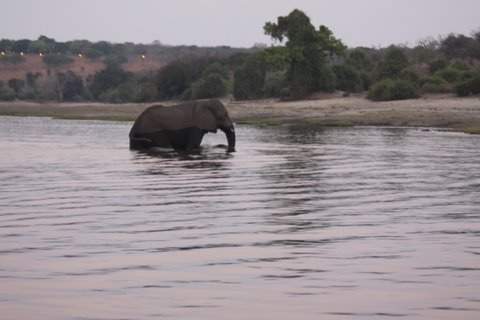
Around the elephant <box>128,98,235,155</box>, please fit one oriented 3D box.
[{"bbox_3d":[-3.302,-1.984,51.665,5.710,2.872,1.756,-1,7,-10],"label":"elephant"}]
